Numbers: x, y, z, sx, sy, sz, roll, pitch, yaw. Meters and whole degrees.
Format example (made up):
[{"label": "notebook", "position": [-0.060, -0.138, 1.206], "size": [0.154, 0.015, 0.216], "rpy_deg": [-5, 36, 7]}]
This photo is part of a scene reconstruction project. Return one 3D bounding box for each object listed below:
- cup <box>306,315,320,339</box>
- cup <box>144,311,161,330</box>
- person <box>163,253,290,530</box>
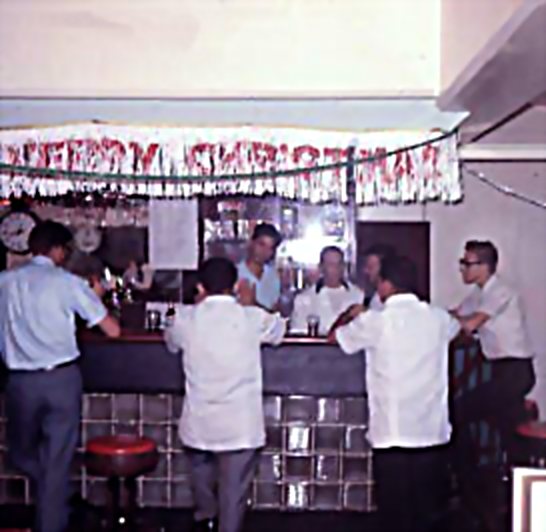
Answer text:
[{"label": "cup", "position": [0.237, 0.346, 5.022], "size": [0.064, 0.125, 0.183], "rpy_deg": [1, -3, 3]}, {"label": "cup", "position": [-0.700, 0.316, 5.053], "size": [0.078, 0.124, 0.083], "rpy_deg": [1, -3, 0]}, {"label": "person", "position": [-0.251, 0.653, 4.415], "size": [0.567, 1.369, 0.241], "rpy_deg": [1, -3, 0]}]
